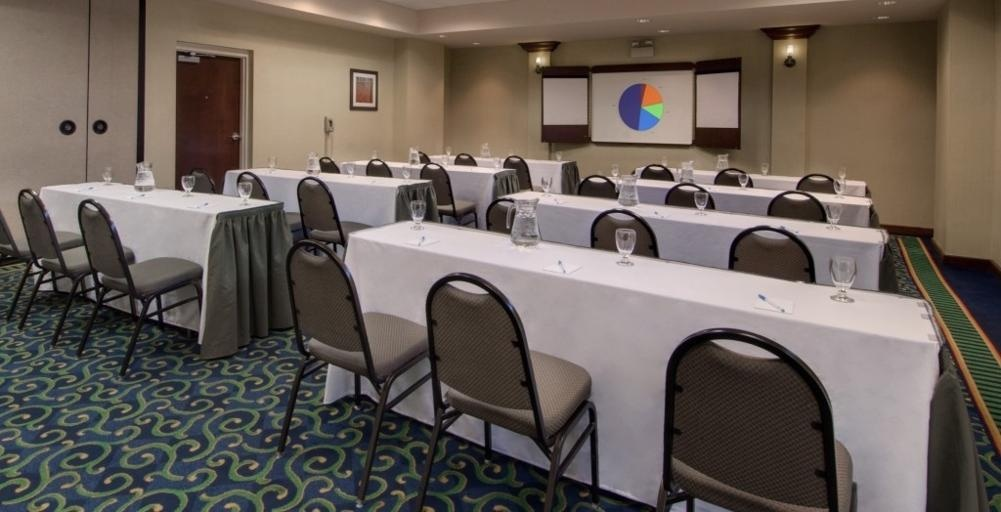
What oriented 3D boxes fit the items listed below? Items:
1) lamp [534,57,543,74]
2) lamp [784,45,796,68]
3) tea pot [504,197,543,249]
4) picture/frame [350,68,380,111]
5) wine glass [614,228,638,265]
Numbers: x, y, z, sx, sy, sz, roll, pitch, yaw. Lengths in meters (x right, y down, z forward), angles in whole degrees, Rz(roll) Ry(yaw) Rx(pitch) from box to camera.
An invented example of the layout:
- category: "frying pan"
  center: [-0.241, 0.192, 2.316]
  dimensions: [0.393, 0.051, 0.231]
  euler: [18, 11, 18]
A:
- category: "lamp"
  center: [0.862, -4.362, 13.328]
  dimensions: [0.216, 0.323, 0.070]
  euler: [10, 17, 26]
- category: "lamp"
  center: [5.581, -3.874, 11.315]
  dimensions: [0.248, 0.421, 0.092]
  euler: [10, 17, 24]
- category: "tea pot"
  center: [0.243, -0.353, 5.837]
  dimensions: [0.303, 0.450, 0.417]
  euler: [3, 16, 2]
- category: "picture/frame"
  center: [-3.007, -3.638, 12.676]
  dimensions: [0.086, 1.013, 0.999]
  euler: [9, 11, 40]
- category: "wine glass"
  center: [1.157, -0.094, 5.507]
  dimensions: [0.164, 0.329, 0.194]
  euler: [4, 16, 7]
